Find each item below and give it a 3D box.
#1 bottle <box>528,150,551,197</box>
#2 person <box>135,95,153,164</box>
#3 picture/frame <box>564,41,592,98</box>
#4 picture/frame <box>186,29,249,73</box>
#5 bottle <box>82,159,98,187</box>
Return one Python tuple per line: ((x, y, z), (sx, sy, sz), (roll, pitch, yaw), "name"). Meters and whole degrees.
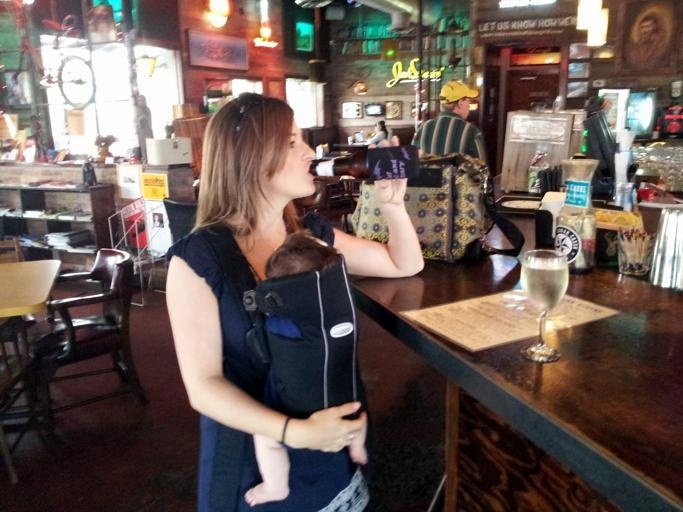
((1.235, -0.539, 3.160), (0.099, 0.274, 0.211), (0, -8, 3), "bottle")
((-2.508, -1.660, 6.323), (0.201, 0.846, 0.613), (-10, 14, -19), "person")
((3.873, -3.068, 8.139), (0.369, 0.880, 0.076), (0, 14, 21), "picture/frame")
((-2.435, -4.067, 9.833), (0.102, 0.710, 1.698), (2, 13, 28), "picture/frame")
((-2.843, -0.935, 5.588), (0.130, 0.291, 0.243), (-11, 14, -26), "bottle")
